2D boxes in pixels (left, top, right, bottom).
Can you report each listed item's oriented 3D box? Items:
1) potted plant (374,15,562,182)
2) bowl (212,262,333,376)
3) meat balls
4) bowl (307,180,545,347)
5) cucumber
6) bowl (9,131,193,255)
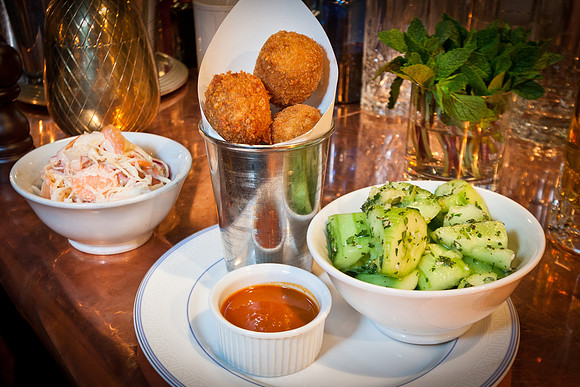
[{"bbox_3d":[0.413,-0.196,0.976,0.337,0.333,0.332,26,40,33],"label":"potted plant"},{"bbox_3d":[-0.029,0.208,0.687,0.143,0.106,0.171,-17,28,-37],"label":"bowl"},{"bbox_3d":[-0.047,-0.186,0.779,0.165,0.196,0.218,-6,18,-13],"label":"meat balls"},{"bbox_3d":[0.214,0.122,0.727,0.360,0.211,0.260,11,27,17],"label":"bowl"},{"bbox_3d":[0.207,0.057,0.761,0.231,0.154,0.309,1,5,-12],"label":"cucumber"},{"bbox_3d":[-0.392,0.003,0.912,0.360,0.193,0.263,-3,26,-11],"label":"bowl"}]
